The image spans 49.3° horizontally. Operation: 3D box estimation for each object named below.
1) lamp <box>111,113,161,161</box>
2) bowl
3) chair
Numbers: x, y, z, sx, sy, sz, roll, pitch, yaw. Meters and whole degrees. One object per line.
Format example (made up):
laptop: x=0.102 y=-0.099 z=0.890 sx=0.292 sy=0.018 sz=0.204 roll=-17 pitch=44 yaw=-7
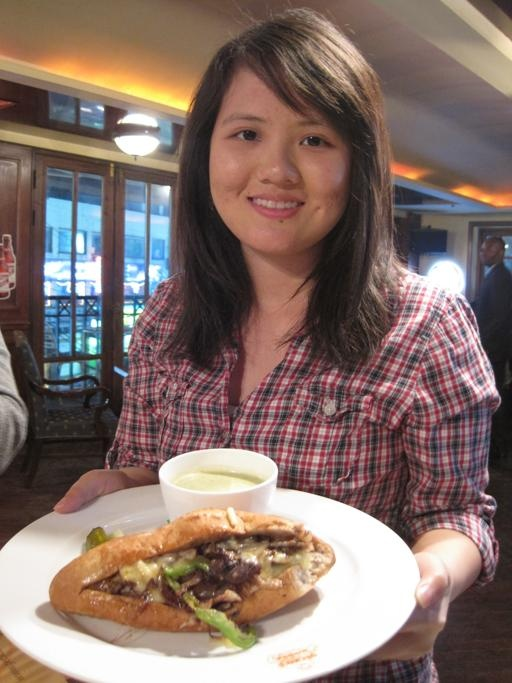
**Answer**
lamp: x=-0.877 y=-1.501 z=4.110 sx=0.362 sy=0.289 sz=0.332 roll=2 pitch=-2 yaw=19
bowl: x=-0.045 y=0.195 z=0.832 sx=0.160 sy=0.097 sz=0.152 roll=-18 pitch=6 yaw=2
chair: x=-1.374 y=0.480 z=4.068 sx=0.829 sy=0.902 sz=0.785 roll=4 pitch=2 yaw=-10
